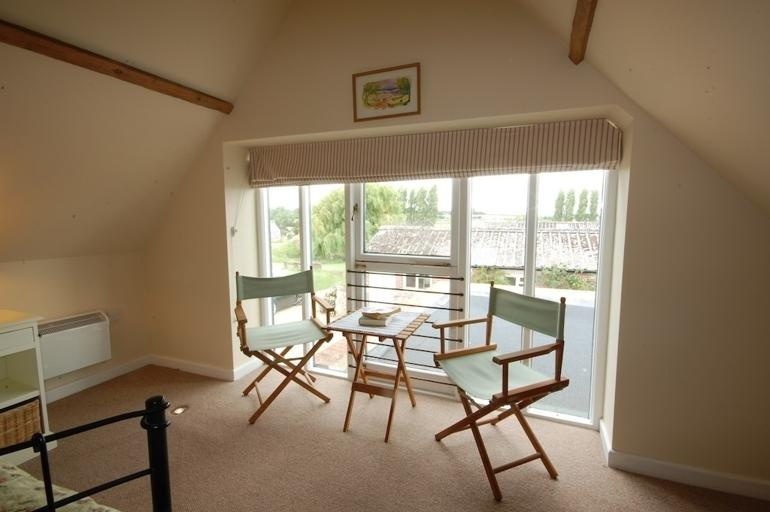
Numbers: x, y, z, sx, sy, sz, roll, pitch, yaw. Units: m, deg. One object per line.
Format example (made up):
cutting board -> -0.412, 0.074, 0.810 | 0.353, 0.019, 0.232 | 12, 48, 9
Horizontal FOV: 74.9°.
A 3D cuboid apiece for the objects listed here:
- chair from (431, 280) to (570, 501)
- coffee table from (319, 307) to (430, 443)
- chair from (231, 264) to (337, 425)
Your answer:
chair -> 0.808, 0.912, 3.674 | 0.701, 1.300, 0.842 | -7, 13, -33
coffee table -> -0.042, 0.919, 4.282 | 0.786, 0.950, 0.878 | 3, 5, 9
chair -> -0.884, 0.740, 4.324 | 0.761, 1.118, 0.694 | -4, 13, -18
